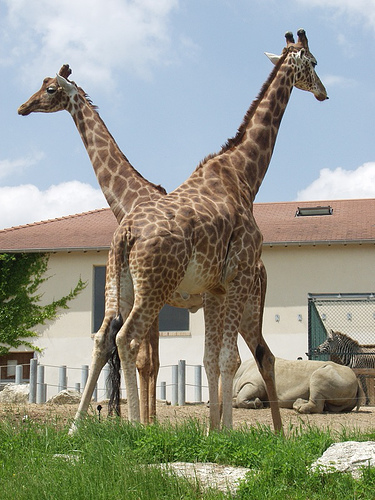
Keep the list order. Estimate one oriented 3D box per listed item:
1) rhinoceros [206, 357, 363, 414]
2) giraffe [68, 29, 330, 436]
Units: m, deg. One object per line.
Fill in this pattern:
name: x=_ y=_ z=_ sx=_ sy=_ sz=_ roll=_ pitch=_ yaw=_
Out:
rhinoceros: x=1.497 y=2.325 z=13.401 sx=2.629 sy=1.249 sz=0.951 roll=-3 pitch=-28 yaw=24
giraffe: x=0.138 y=-0.201 z=8.592 sx=1.179 sy=4.011 sz=3.012 roll=-4 pitch=-4 yaw=29
